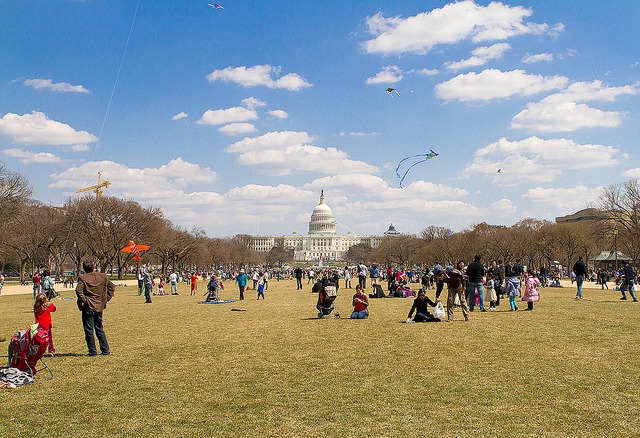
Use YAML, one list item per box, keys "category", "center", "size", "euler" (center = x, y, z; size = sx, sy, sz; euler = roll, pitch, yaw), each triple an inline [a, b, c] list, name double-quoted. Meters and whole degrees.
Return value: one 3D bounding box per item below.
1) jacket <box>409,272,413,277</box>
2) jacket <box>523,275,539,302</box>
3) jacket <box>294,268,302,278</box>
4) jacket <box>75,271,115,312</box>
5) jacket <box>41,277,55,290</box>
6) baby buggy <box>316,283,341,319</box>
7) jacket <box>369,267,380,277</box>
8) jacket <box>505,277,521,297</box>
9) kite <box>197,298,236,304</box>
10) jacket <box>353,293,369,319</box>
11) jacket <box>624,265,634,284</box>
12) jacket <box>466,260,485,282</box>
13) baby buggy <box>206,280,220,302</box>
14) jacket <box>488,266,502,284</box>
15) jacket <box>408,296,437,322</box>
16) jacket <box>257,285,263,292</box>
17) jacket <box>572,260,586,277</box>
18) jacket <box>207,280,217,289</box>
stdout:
- category: "jacket"
  center: [7.494, 4.579, 49.676]
  size: [0.299, 0.422, 0.188]
  euler: [4, -11, -20]
- category: "jacket"
  center: [9.832, 3.246, 27.996]
  size: [0.672, 1.210, 0.583]
  euler: [0, -1, 4]
- category: "jacket"
  center: [-1.954, 4.724, 52.079]
  size: [0.787, 0.791, 0.564]
  euler: [1, 4, 5]
- category: "jacket"
  center: [-7.159, 2.299, 19.209]
  size: [1.154, 1.253, 0.648]
  euler: [-4, 6, -26]
- category: "jacket"
  center: [-12.124, 2.797, 26.716]
  size: [0.409, 0.461, 0.599]
  euler: [0, -1, -24]
- category: "baby buggy"
  center: [0.334, 3.657, 27.156]
  size: [0.893, 1.536, 1.397]
  euler: [0, -1, 0]
- category: "jacket"
  center: [3.904, 3.853, 41.992]
  size: [0.662, 0.766, 0.783]
  euler: [2, 6, -4]
- category: "jacket"
  center: [9.108, 3.206, 28.404]
  size: [0.605, 0.913, 0.571]
  euler: [-1, -1, 19]
- category: "kite"
  center: [-6.385, 5.110, 36.776]
  size: [2.280, 0.110, 1.513]
  euler: [0, -1, -40]
- category: "jacket"
  center: [1.823, 3.813, 26.726]
  size: [0.699, 1.060, 1.303]
  euler: [0, -1, 3]
- category: "jacket"
  center: [17.367, 3.127, 33.825]
  size: [0.409, 1.076, 1.015]
  euler: [-1, -1, 27]
- category: "jacket"
  center: [7.125, 2.380, 27.513]
  size: [0.730, 1.040, 0.964]
  euler: [-1, -1, 14]
- category: "baby buggy"
  center: [-6.830, 4.632, 37.823]
  size: [0.944, 0.914, 1.428]
  euler: [0, 0, -4]
- category: "jacket"
  center: [8.781, 2.816, 30.106]
  size: [1.009, 0.863, 0.449]
  euler: [0, -1, -35]
- category: "jacket"
  center: [4.406, 3.907, 25.873]
  size: [1.422, 1.132, 0.760]
  euler: [-9, 13, -23]
- category: "jacket"
  center: [-3.922, 4.576, 39.499]
  size: [0.323, 0.613, 0.448]
  euler: [-1, -1, 4]
- category: "jacket"
  center: [14.790, 2.868, 34.197]
  size: [0.423, 0.736, 0.700]
  euler: [0, -1, 9]
- category: "jacket"
  center: [-6.674, 4.036, 37.037]
  size: [0.384, 0.451, 0.683]
  euler: [-12, 1, -9]
